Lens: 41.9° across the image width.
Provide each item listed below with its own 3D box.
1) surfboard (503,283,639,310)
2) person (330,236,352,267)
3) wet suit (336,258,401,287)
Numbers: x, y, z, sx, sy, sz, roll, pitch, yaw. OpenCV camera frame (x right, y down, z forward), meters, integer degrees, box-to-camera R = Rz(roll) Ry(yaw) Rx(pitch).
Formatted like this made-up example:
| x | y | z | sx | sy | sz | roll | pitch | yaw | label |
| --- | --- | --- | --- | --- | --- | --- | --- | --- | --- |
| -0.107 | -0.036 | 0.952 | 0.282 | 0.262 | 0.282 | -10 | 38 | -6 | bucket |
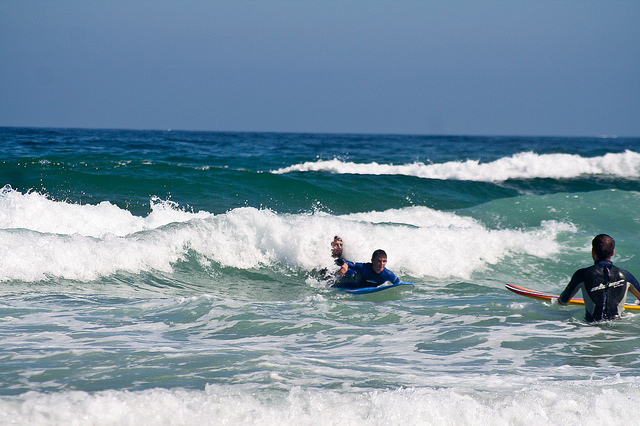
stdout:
| x | y | z | sx | sy | sz | roll | pitch | yaw | label |
| --- | --- | --- | --- | --- | --- | --- | --- | --- | --- |
| 5.400 | 1.814 | 17.859 | 2.890 | 0.297 | 0.441 | 6 | -2 | 36 | surfboard |
| 0.506 | 1.009 | 21.301 | 0.774 | 0.518 | 0.348 | -8 | -6 | -41 | person |
| 1.105 | 1.459 | 19.877 | 1.765 | 0.531 | 1.318 | -1 | -12 | 19 | wet suit |
